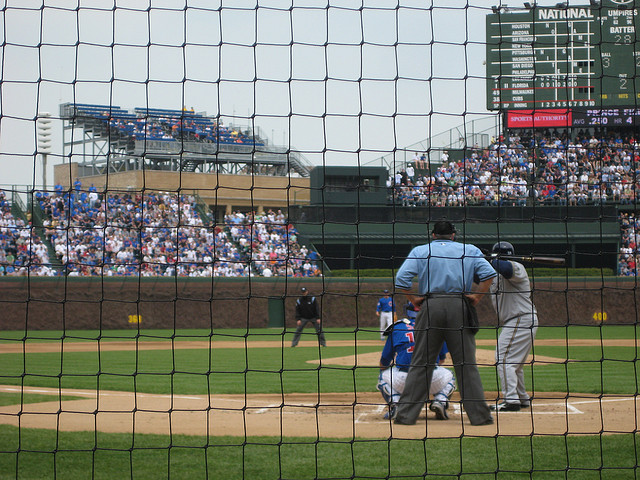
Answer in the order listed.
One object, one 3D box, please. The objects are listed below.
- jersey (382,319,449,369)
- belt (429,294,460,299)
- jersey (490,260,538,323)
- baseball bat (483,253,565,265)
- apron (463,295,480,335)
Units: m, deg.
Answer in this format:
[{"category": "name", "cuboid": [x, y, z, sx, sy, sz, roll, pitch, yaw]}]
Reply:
[{"category": "jersey", "cuboid": [2.260, 2.571, 39.342, 1.566, 1.307, 0.847, -1, 11, 11]}, {"category": "belt", "cuboid": [2.898, 1.402, 38.517, 0.702, 0.103, 0.035, -2, 2, 1]}, {"category": "jersey", "cuboid": [4.694, 1.369, 39.948, 1.045, 1.623, 1.653, -2, -14, -8]}, {"category": "baseball bat", "cuboid": [4.871, 0.557, 39.559, 1.530, 0.177, 0.175, 6, 1, 13]}, {"category": "apron", "cuboid": [3.597, 1.827, 38.658, 0.288, 0.927, 0.525, -2, 2, 22]}]
